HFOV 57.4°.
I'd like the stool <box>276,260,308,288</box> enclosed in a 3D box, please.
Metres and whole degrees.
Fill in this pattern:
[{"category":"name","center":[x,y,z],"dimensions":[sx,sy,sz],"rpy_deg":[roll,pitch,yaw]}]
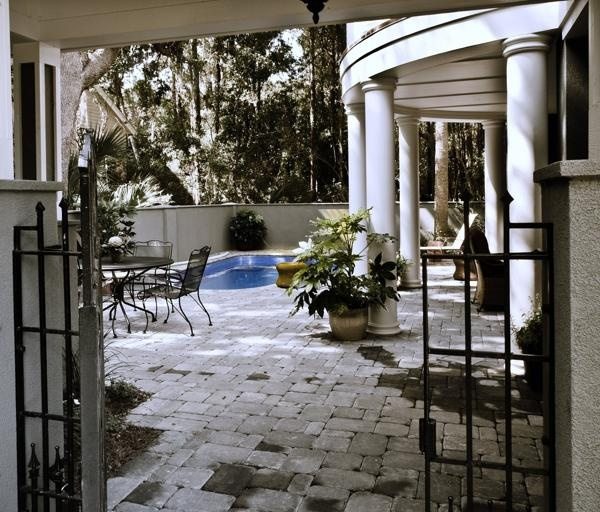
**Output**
[{"category":"stool","center":[-0.239,0.349,10.242],"dimensions":[0.507,0.485,0.546],"rpy_deg":[-1,5,13]}]

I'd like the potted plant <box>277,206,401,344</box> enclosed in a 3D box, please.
[{"category":"potted plant","center":[0.484,0.255,6.475],"dimensions":[1.159,1.471,1.399],"rpy_deg":[4,10,31]}]

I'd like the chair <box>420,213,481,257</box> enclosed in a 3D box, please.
[{"category":"chair","center":[2.885,-0.434,10.819],"dimensions":[1.077,0.776,0.837],"rpy_deg":[-1,27,13]}]
